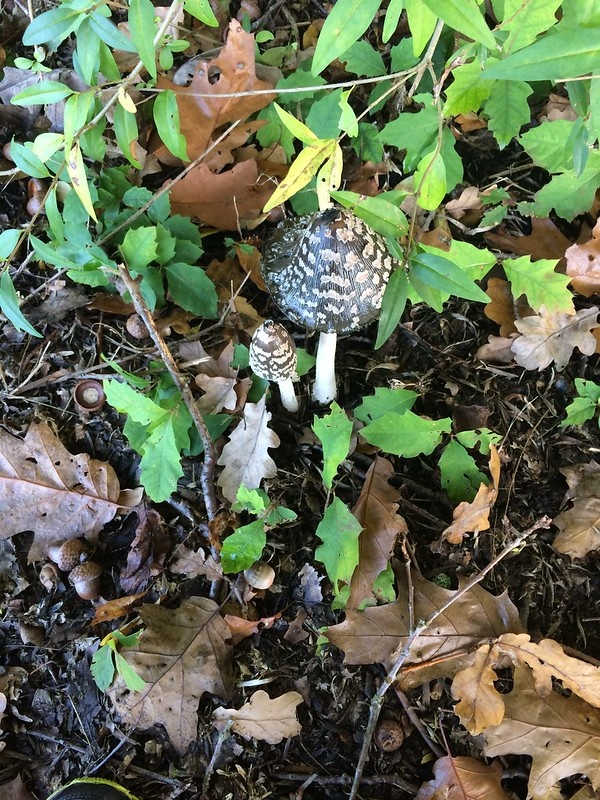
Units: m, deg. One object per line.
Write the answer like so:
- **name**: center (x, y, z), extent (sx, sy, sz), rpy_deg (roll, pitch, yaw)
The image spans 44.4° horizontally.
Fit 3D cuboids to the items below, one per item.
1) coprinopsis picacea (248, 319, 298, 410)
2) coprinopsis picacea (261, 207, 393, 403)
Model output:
- **coprinopsis picacea**: center (-0.101, -0.113, 2.618), extent (0.145, 0.362, 0.151), rpy_deg (41, 81, 17)
- **coprinopsis picacea**: center (0.104, -0.352, 2.466), extent (0.342, 0.545, 0.495), rpy_deg (4, 34, 14)
